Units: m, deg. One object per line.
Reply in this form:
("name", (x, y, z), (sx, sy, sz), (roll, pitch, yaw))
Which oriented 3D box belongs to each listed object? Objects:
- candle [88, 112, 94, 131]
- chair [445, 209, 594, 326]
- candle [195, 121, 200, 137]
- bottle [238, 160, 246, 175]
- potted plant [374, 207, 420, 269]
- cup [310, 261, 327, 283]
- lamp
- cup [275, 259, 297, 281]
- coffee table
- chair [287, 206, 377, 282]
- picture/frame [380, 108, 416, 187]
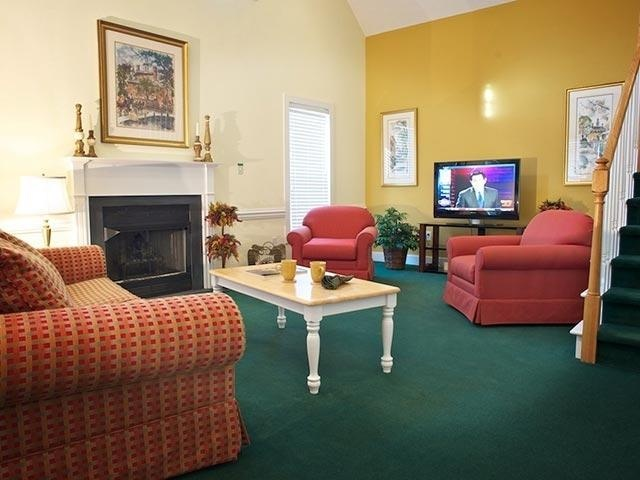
("candle", (-2.233, -1.161, 4.519), (0.061, 0.167, 0.213), (-5, 12, -26))
("chair", (1.863, 0.194, 4.523), (1.082, 0.988, 1.149), (0, 5, -5))
("candle", (-1.415, -1.282, 5.348), (0.046, 0.149, 0.084), (1, 10, 5))
("bottle", (-0.995, -0.907, 5.806), (0.028, 0.162, 0.105), (6, 12, 32))
("potted plant", (1.073, -0.009, 6.779), (0.566, 0.738, 0.591), (4, 2, 39))
("cup", (-0.019, 0.216, 3.353), (0.099, 0.143, 0.147), (0, 8, -8))
("lamp", (-2.408, -0.174, 4.068), (0.431, 0.770, 0.408), (0, 9, -21))
("cup", (-0.266, 0.219, 3.497), (0.158, 0.156, 0.106), (1, 3, 16))
("coffee table", (0.050, 0.374, 3.233), (0.726, 0.535, 1.345), (-4, 6, -35))
("chair", (0.091, -0.073, 5.935), (1.122, 0.966, 0.928), (1, 16, -6))
("picture/frame", (1.212, -1.402, 7.079), (0.164, 1.132, 0.641), (-10, 14, -42))
